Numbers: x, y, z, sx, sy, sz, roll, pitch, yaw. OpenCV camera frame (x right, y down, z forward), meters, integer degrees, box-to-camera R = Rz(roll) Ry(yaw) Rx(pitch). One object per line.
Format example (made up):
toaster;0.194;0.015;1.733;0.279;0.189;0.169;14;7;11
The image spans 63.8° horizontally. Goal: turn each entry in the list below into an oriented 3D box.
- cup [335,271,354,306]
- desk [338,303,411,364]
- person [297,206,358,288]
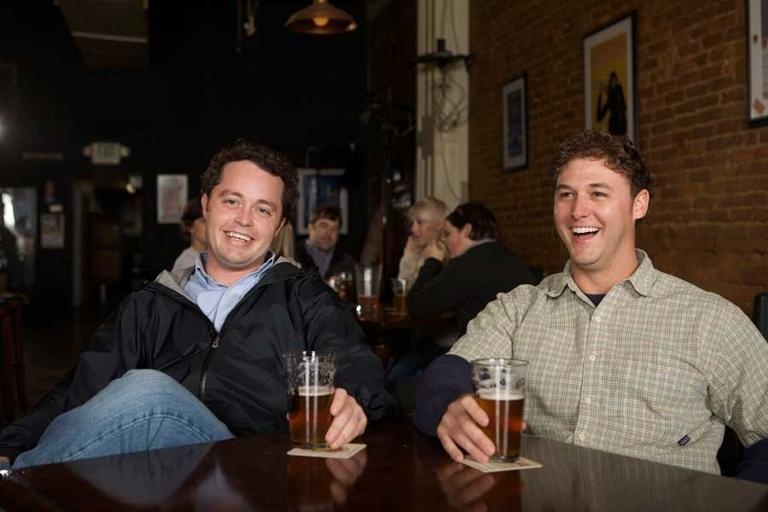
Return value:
cup;-0.292;0.216;4.601;0.151;0.232;0.152;-1;10;0
desk;-0.124;0.468;4.143;0.282;0.359;0.563;21;0;-37
person;-0.588;-0.091;5.697;0.857;0.685;0.392;6;0;-22
